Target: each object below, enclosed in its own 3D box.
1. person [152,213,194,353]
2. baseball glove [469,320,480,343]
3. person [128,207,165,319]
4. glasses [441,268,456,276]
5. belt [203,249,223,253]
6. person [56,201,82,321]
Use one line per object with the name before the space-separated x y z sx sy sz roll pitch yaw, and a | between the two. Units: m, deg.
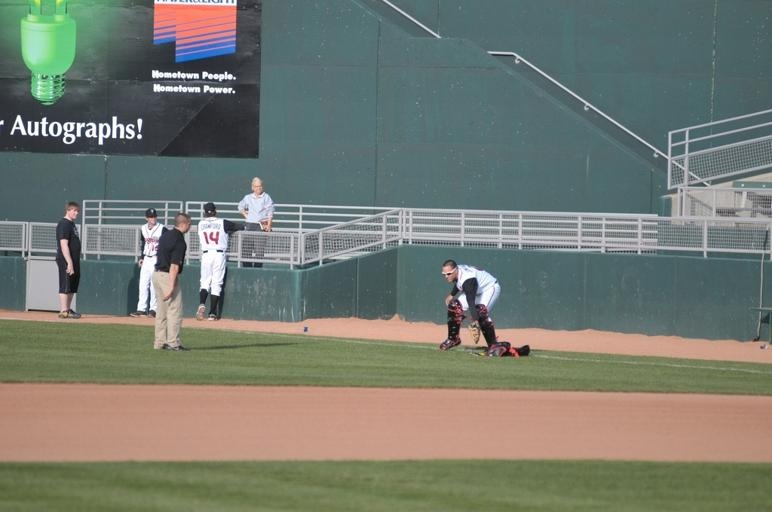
person | -5.731 0.659 54.305 0.880 3.727 0.963 4 -4 -6
baseball glove | 2.476 2.066 55.842 0.297 0.667 0.243 -5 0 -10
person | -6.897 0.224 59.242 1.158 3.440 1.139 0 -2 -1
glasses | 1.723 0.422 55.238 0.334 0.199 0.151 1 -5 35
belt | -4.897 -0.181 58.556 0.559 0.127 0.072 4 -4 -1
person | -9.057 0.119 58.442 0.772 3.369 1.216 4 -4 -4
